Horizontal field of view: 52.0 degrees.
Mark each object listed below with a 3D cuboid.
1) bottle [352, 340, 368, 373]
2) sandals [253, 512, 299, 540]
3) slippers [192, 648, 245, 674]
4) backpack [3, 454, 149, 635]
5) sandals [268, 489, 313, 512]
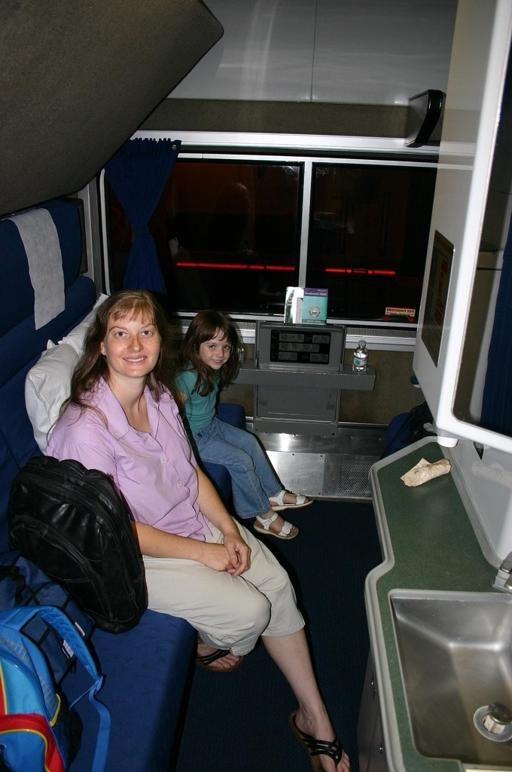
[{"bbox_3d":[0.606,-0.171,3.020,0.098,0.195,0.109,-2,33,-1],"label":"bottle"},{"bbox_3d":[0.100,0.688,2.635,0.232,0.120,0.125,6,25,6],"label":"sandals"},{"bbox_3d":[-0.137,1.027,1.955,0.202,0.081,0.057,3,-5,-4],"label":"slippers"},{"bbox_3d":[-0.470,0.428,1.364,0.340,0.469,0.135,14,29,22],"label":"backpack"},{"bbox_3d":[0.209,0.602,2.770,0.281,0.121,0.107,-2,9,-4],"label":"sandals"}]
